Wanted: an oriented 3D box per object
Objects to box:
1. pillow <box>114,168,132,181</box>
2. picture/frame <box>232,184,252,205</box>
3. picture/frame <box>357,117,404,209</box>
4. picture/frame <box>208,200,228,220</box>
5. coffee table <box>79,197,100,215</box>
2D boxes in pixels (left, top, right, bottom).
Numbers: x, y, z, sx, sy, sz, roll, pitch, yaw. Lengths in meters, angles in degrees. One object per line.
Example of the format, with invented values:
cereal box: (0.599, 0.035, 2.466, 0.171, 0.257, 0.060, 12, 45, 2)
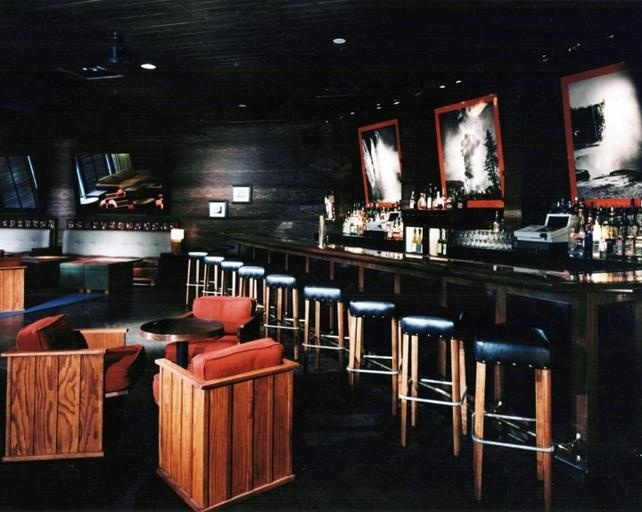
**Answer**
pillow: (-3.645, -1.509, 11.382, 0.397, 0.202, 0.049, 0, 6, 24)
picture/frame: (-1.379, -1.085, 10.889, 0.386, 0.312, 0.034, 1, 2, 10)
picture/frame: (0.902, -1.350, 9.247, 0.028, 1.271, 1.159, -7, 7, -25)
picture/frame: (-1.834, -0.829, 11.049, 0.381, 0.348, 0.054, 0, 4, 14)
coffee table: (-4.407, -0.939, 11.752, 0.365, 0.328, 0.371, -2, 7, -33)
